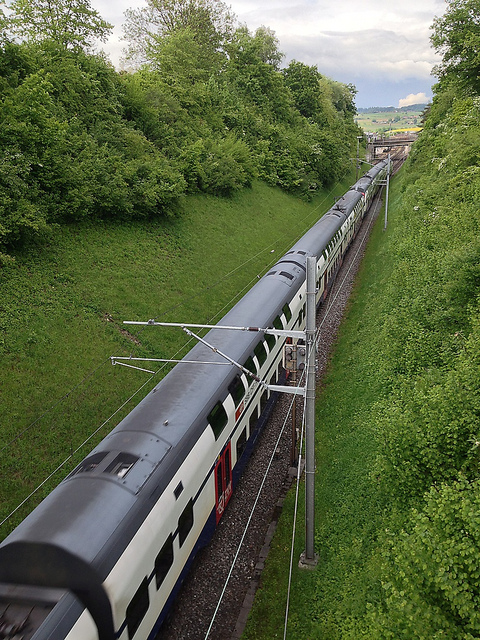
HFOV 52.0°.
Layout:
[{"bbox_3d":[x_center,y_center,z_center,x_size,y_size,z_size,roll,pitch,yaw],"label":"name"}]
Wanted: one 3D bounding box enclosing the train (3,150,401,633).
[{"bbox_3d":[1.979,-3.058,23.229,3.035,4.886,36.740,0,28,20],"label":"train"}]
